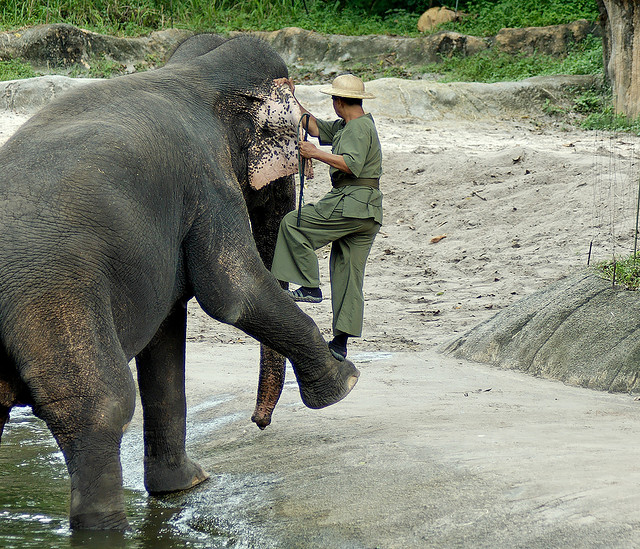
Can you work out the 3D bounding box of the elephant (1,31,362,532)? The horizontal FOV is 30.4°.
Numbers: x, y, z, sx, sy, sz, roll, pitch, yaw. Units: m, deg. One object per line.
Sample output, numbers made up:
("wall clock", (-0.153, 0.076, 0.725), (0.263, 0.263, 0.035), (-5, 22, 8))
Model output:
("elephant", (-0.659, 0.019, 4.790), (0.723, 2.008, 1.647), (5, 13, 38))
